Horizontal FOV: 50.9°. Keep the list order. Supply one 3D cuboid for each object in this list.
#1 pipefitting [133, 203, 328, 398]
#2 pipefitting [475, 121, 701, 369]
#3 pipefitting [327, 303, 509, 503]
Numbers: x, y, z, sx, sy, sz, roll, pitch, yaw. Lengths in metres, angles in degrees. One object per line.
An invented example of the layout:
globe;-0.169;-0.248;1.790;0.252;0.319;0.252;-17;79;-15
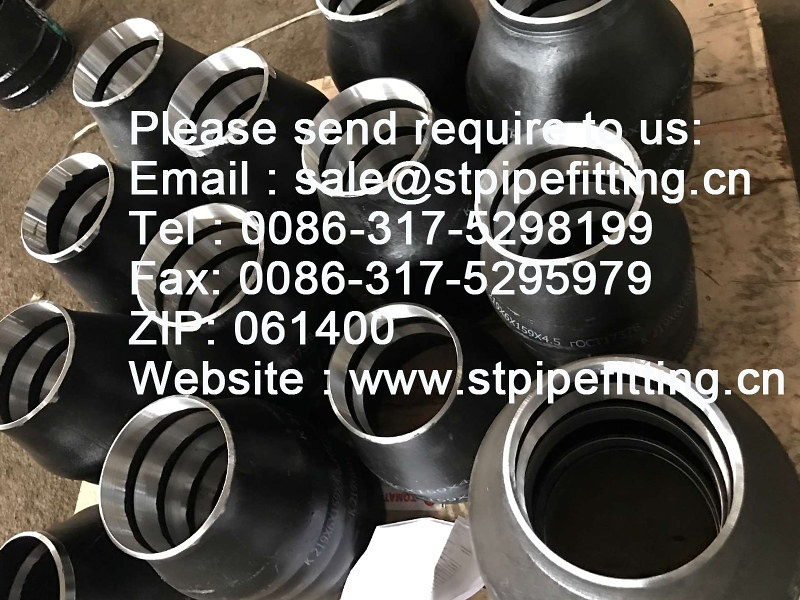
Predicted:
pipefitting;-0.195;0.021;1.168;0.221;0.275;0.268;-4;64;17
pipefitting;0.200;-0.033;1.014;0.214;0.317;0.308;-3;64;20
pipefitting;0.045;0.106;1.107;0.211;0.237;0.257;5;64;27
